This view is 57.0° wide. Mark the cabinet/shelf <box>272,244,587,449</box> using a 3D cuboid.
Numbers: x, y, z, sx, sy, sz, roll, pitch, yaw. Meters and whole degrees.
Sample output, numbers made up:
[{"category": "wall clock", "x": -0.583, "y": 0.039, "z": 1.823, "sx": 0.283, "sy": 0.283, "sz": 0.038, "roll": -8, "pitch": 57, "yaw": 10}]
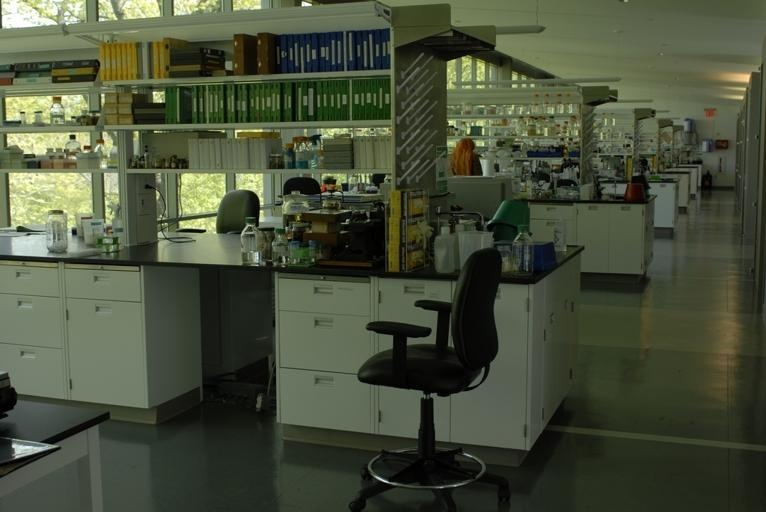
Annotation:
[{"category": "cabinet/shelf", "x": 0.341, "y": 0.512, "z": 5.084, "sx": 1.477, "sy": 0.877, "sz": 1.458, "roll": 1, "pitch": 5, "yaw": 20}]

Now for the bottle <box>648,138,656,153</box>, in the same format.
[{"category": "bottle", "x": 6.352, "y": -2.627, "z": 16.772, "sx": 0.108, "sy": 0.414, "sz": 0.450, "roll": 6, "pitch": -2, "yaw": 7}]

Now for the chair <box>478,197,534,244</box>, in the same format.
[{"category": "chair", "x": 0.998, "y": -0.296, "z": 5.832, "sx": 0.380, "sy": 0.422, "sz": 0.350, "roll": 0, "pitch": 0, "yaw": 39}]

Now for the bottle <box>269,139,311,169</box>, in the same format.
[{"category": "bottle", "x": -0.706, "y": -0.821, "z": 5.650, "sx": 0.362, "sy": 0.293, "sz": 0.208, "roll": 1, "pitch": 7, "yaw": 9}]

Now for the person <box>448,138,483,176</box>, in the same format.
[{"category": "person", "x": 0.988, "y": -1.186, "z": 8.426, "sx": 0.354, "sy": 0.435, "sz": 0.802, "roll": 0, "pitch": 7, "yaw": 4}]

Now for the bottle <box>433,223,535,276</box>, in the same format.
[{"category": "bottle", "x": 0.667, "y": -0.050, "z": 4.763, "sx": 0.542, "sy": 0.366, "sz": 0.333, "roll": 2, "pitch": 4, "yaw": 24}]

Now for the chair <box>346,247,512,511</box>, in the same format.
[{"category": "chair", "x": 0.322, "y": 0.736, "z": 4.373, "sx": 0.945, "sy": 1.598, "sz": 0.589, "roll": 1, "pitch": 7, "yaw": 10}]

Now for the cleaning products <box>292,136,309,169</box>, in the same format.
[{"category": "cleaning products", "x": -0.638, "y": -0.820, "z": 5.597, "sx": 0.132, "sy": 0.250, "sz": 0.337, "roll": -1, "pitch": 7, "yaw": -7}]

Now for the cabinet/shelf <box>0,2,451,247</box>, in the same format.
[{"category": "cabinet/shelf", "x": -1.261, "y": -1.005, "z": 5.843, "sx": 3.914, "sy": 1.796, "sz": 0.983, "roll": 3, "pitch": 7, "yaw": 20}]

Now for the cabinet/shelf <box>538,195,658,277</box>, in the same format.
[{"category": "cabinet/shelf", "x": 2.732, "y": -0.266, "z": 8.888, "sx": 1.353, "sy": 0.795, "sz": 1.318, "roll": 2, "pitch": 4, "yaw": 23}]

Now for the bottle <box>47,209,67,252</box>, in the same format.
[{"category": "bottle", "x": -2.551, "y": -0.192, "z": 5.559, "sx": 0.142, "sy": 0.316, "sz": 0.342, "roll": -4, "pitch": 8, "yaw": -30}]

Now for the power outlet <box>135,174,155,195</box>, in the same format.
[{"category": "power outlet", "x": -1.987, "y": -0.598, "z": 5.912, "sx": 0.097, "sy": 0.167, "sz": 0.184, "roll": 2, "pitch": 3, "yaw": 24}]

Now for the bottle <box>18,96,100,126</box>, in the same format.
[{"category": "bottle", "x": -3.220, "y": -1.455, "z": 7.067, "sx": 0.718, "sy": 0.225, "sz": 0.218, "roll": 1, "pitch": 4, "yaw": 13}]

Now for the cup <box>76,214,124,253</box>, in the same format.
[{"category": "cup", "x": -2.293, "y": -0.186, "z": 5.738, "sx": 0.449, "sy": 0.306, "sz": 0.275, "roll": 5, "pitch": 7, "yaw": 28}]
